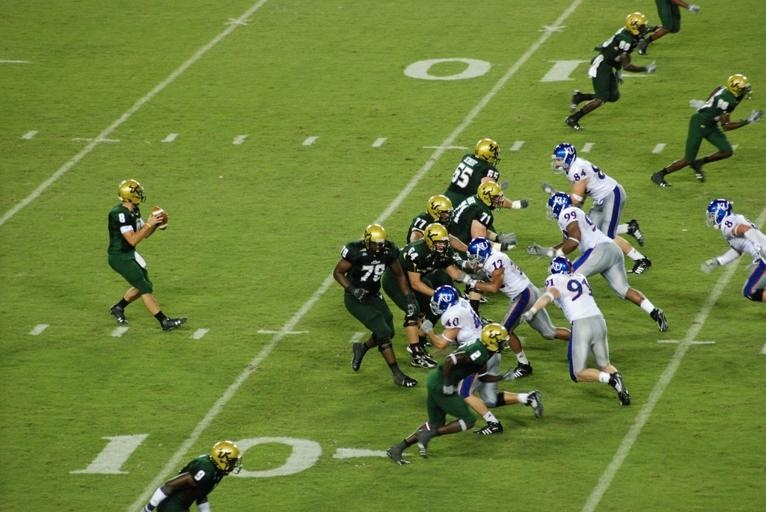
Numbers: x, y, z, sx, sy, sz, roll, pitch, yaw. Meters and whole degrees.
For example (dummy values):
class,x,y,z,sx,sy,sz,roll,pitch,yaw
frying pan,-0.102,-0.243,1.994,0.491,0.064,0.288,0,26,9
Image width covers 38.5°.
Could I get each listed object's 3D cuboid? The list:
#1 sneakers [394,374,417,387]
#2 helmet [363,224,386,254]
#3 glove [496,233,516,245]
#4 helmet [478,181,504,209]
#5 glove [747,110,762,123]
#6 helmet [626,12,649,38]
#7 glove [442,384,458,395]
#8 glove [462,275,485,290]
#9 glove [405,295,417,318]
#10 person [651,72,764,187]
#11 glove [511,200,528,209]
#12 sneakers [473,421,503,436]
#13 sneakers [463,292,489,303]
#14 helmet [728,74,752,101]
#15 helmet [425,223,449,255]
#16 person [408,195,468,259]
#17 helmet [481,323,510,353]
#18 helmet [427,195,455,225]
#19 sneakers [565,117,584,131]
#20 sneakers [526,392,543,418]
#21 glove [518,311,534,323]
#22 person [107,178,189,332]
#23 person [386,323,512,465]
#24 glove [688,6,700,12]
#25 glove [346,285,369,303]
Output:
class,x,y,z,sx,sy,sz,roll,pitch,yaw
sneakers,0.245,1.391,12.302,0.270,0.070,0.126,4,23,20
helmet,-0.085,-0.207,12.331,0.233,0.293,0.256,-2,34,11
glove,1.517,-0.191,13.451,0.239,0.074,0.134,-1,48,5
helmet,1.328,-0.754,13.480,0.449,0.253,0.249,6,41,-2
glove,5.278,-1.990,15.560,0.176,0.161,0.273,1,30,15
helmet,4.025,-3.638,17.362,0.274,0.373,0.418,3,33,18
glove,0.673,1.338,10.955,0.124,0.082,0.116,3,-1,2
glove,1.056,0.308,12.761,0.244,0.089,0.126,15,69,39
glove,0.331,0.567,12.529,0.105,0.188,0.208,-14,75,-2
person,4.713,-1.789,15.824,1.600,1.547,0.705,-22,38,-21
glove,1.776,-0.676,14.216,0.254,0.076,0.266,0,4,3
sneakers,1.074,1.815,11.509,0.383,0.102,0.102,-1,11,4
sneakers,1.194,0.480,13.134,0.435,0.129,0.109,1,29,-2
helmet,5.119,-2.420,15.723,0.290,0.353,0.340,20,42,36
helmet,0.601,-0.205,12.489,0.279,0.353,0.237,24,47,39
person,0.689,-0.327,13.129,0.659,0.845,0.461,27,54,4
helmet,1.107,0.808,11.034,0.424,0.241,0.219,-5,43,-4
helmet,0.680,-0.558,13.099,0.280,0.336,0.258,-1,35,12
sneakers,3.107,-2.092,17.341,0.379,0.232,0.109,20,84,14
sneakers,1.624,1.566,11.483,0.140,0.285,0.171,-17,10,20
glove,1.607,0.679,12.310,0.199,0.043,0.117,-16,21,2
person,-3.011,0.031,13.312,1.035,1.715,1.326,-15,34,-6
person,0.710,1.375,11.127,1.555,1.327,0.502,-32,41,-34
glove,5.620,-4.467,19.775,0.204,0.075,0.159,-1,-6,0
glove,-0.282,0.412,12.408,0.195,0.219,0.074,21,84,18
